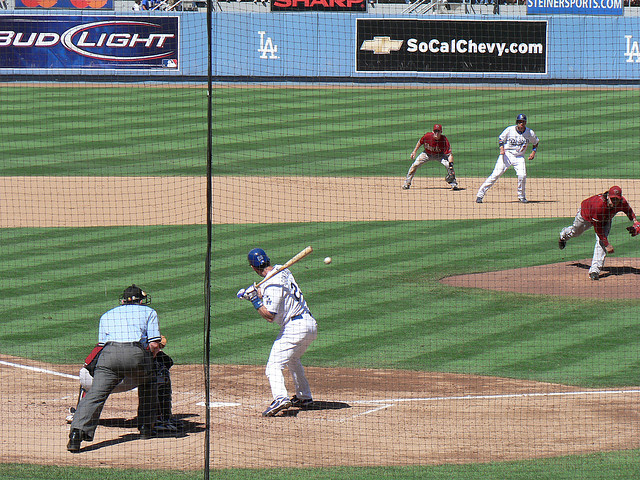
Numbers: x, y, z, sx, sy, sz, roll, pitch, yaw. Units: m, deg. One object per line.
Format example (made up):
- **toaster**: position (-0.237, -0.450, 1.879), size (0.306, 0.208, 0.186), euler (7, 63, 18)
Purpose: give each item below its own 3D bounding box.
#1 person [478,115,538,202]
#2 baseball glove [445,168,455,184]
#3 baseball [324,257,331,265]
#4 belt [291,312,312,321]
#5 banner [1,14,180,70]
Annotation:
- **person**: position (4.799, -2.050, 38.122), size (1.517, 2.222, 0.807), euler (4, 16, -1)
- **baseball glove**: position (3.383, -1.679, 39.309), size (0.299, 0.335, 0.142), euler (5, -18, 13)
- **baseball**: position (0.150, 0.406, 29.719), size (0.130, 0.078, 0.150), euler (-3, 7, 28)
- **belt**: position (-0.381, 1.452, 29.015), size (0.192, 0.147, 0.159), euler (-7, -9, 23)
- **banner**: position (-7.317, -6.261, 48.043), size (5.568, 1.721, 0.631), euler (-1, 2, -7)
